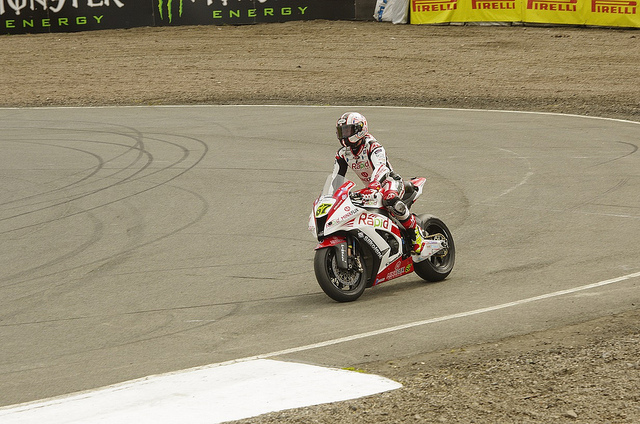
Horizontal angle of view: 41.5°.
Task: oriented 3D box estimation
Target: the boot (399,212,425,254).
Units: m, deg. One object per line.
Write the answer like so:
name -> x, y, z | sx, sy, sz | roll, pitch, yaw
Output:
boot -> 1.452, 0.354, 13.633 | 0.284, 0.713, 0.313 | -35, 17, 16

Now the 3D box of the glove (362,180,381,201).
glove -> 0.801, -0.356, 13.357 | 0.215, 0.290, 0.298 | 7, 19, 16
